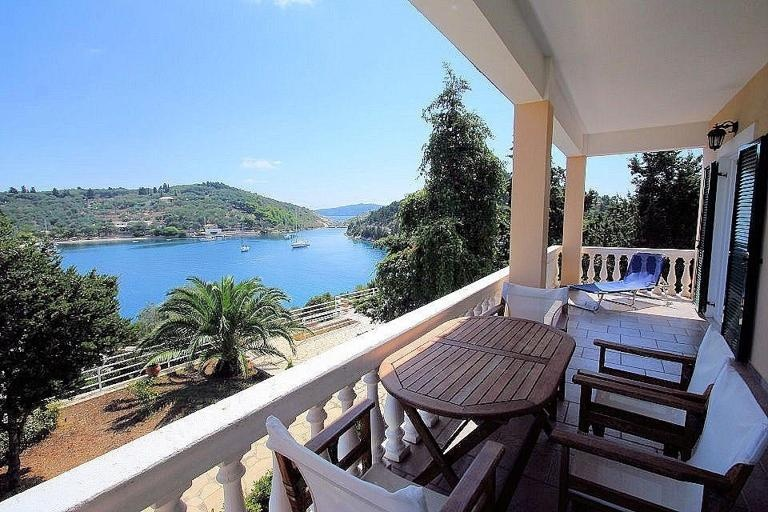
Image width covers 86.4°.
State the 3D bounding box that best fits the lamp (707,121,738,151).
[{"bbox_3d":[5.472,-2.012,6.614,0.342,0.471,0.961,1,4,36],"label":"lamp"}]

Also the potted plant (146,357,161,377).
[{"bbox_3d":[-6.622,3.215,11.718,0.356,0.496,0.665,-4,4,-32],"label":"potted plant"}]

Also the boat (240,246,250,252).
[{"bbox_3d":[-12.195,-0.692,35.650,0.433,0.399,1.327,-3,2,-7],"label":"boat"}]

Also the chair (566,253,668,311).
[{"bbox_3d":[4.366,0.431,7.616,1.548,0.919,0.906,-5,7,-11],"label":"chair"}]

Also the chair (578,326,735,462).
[{"bbox_3d":[2.323,1.262,3.626,0.983,1.295,1.111,11,14,40],"label":"chair"}]
